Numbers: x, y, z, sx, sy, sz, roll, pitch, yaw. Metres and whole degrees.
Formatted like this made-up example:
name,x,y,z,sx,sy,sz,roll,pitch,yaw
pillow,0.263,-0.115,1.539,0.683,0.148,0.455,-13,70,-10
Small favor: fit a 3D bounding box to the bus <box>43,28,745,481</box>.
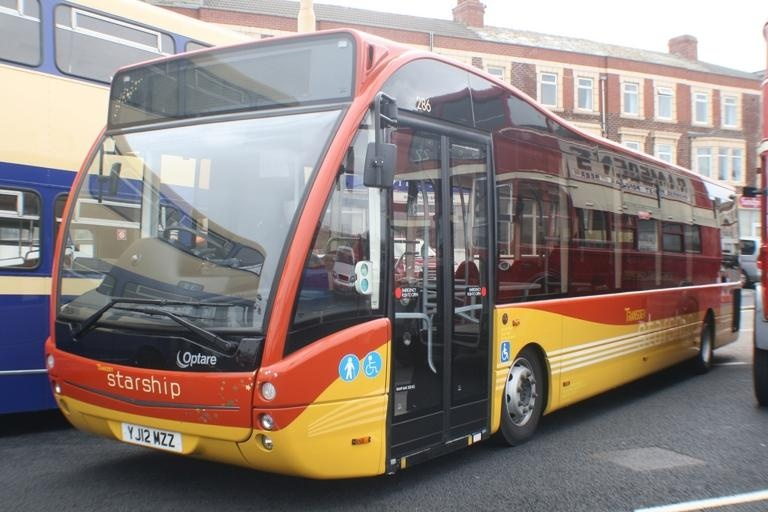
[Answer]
name,x,y,z,sx,sy,sz,roll,pitch,yaw
bus,1.639,0.140,9.492,3.471,3.731,11.405,1,-2,41
